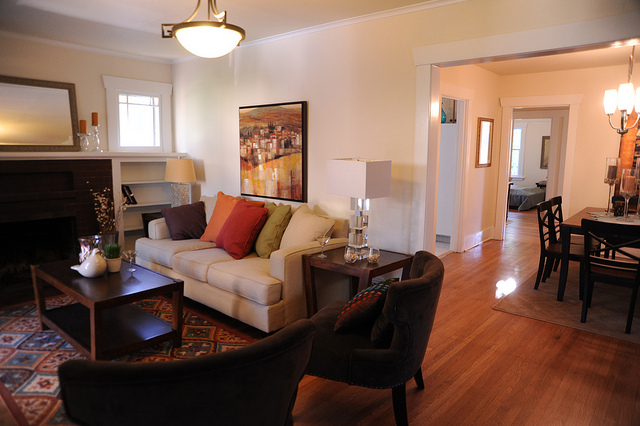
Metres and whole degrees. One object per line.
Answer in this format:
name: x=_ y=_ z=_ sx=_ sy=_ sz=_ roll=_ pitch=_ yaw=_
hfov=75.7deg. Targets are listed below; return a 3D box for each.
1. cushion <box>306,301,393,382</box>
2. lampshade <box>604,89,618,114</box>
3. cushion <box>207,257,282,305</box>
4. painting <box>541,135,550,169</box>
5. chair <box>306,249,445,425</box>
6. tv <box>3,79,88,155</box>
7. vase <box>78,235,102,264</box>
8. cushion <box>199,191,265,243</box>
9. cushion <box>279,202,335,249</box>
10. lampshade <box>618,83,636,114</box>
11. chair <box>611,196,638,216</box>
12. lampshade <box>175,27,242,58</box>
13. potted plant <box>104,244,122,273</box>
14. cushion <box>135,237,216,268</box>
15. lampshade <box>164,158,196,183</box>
cushion: x=0.245 y=1.038 z=3.283 sx=0.626 sy=0.331 sz=0.551 roll=0 pitch=10 yaw=8
lampshade: x=3.941 y=-1.501 z=5.553 sx=0.148 sy=0.310 sz=0.192 roll=6 pitch=12 yaw=35
cushion: x=-0.755 y=0.667 z=4.229 sx=0.525 sy=0.137 sz=0.488 roll=-10 pitch=14 yaw=-41
painting: x=6.827 y=-1.813 z=12.398 sx=0.125 sy=0.969 sz=0.284 roll=-4 pitch=11 yaw=-17
chair: x=0.463 y=0.931 z=3.631 sx=1.227 sy=1.372 sz=1.255 roll=6 pitch=11 yaw=27
tv: x=-3.842 y=-1.303 z=5.660 sx=0.071 sy=1.051 sz=1.095 roll=11 pitch=16 yaw=42
vase: x=-2.361 y=0.382 z=4.218 sx=0.222 sy=0.305 sz=0.224 roll=17 pitch=18 yaw=32
cushion: x=-1.164 y=0.152 z=5.455 sx=0.205 sy=0.637 sz=0.672 roll=28 pitch=-11 yaw=-41
cushion: x=-0.150 y=0.200 z=4.756 sx=0.392 sy=0.704 sz=0.678 roll=20 pitch=-13 yaw=-23
lampshade: x=3.892 y=-1.452 z=5.208 sx=0.155 sy=0.368 sz=0.244 roll=6 pitch=12 yaw=33
chair: x=4.113 y=-0.086 z=5.522 sx=0.231 sy=0.287 sz=0.241 roll=8 pitch=19 yaw=37
lampshade: x=-0.911 y=-1.396 z=3.398 sx=0.525 sy=0.158 sz=0.359 roll=-3 pitch=10 yaw=-10
potted plant: x=-2.127 y=0.461 z=4.222 sx=0.156 sy=0.285 sz=0.104 roll=-10 pitch=14 yaw=-42
cushion: x=-1.701 y=0.513 z=5.375 sx=1.175 sy=0.269 sz=0.864 roll=6 pitch=3 yaw=22
lampshade: x=-2.143 y=-0.656 z=6.321 sx=0.378 sy=0.387 sz=0.385 roll=8 pitch=11 yaw=36
